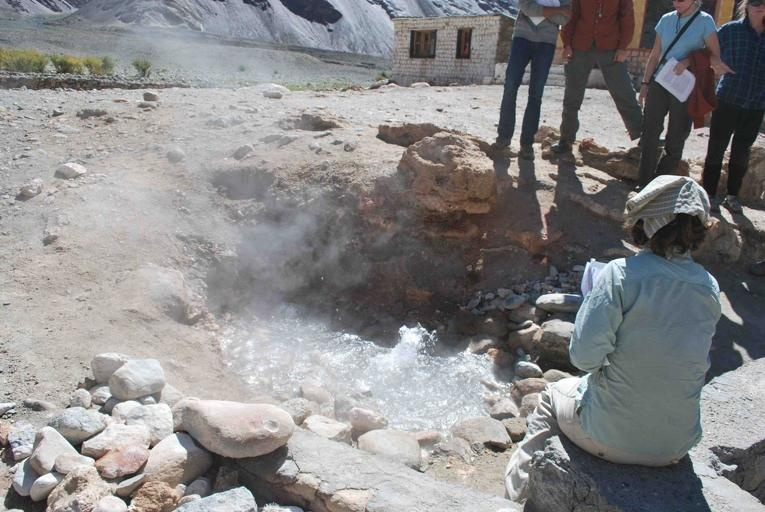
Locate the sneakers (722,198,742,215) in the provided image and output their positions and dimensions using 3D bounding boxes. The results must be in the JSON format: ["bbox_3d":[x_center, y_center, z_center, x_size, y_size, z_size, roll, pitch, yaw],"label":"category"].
[{"bbox_3d":[3.678,-0.539,6.542,0.108,0.114,0.262,-13,36,-10],"label":"sneakers"}]

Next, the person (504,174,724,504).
[{"bbox_3d":[1.679,0.451,3.882,0.893,1.733,0.849,22,36,33],"label":"person"}]
